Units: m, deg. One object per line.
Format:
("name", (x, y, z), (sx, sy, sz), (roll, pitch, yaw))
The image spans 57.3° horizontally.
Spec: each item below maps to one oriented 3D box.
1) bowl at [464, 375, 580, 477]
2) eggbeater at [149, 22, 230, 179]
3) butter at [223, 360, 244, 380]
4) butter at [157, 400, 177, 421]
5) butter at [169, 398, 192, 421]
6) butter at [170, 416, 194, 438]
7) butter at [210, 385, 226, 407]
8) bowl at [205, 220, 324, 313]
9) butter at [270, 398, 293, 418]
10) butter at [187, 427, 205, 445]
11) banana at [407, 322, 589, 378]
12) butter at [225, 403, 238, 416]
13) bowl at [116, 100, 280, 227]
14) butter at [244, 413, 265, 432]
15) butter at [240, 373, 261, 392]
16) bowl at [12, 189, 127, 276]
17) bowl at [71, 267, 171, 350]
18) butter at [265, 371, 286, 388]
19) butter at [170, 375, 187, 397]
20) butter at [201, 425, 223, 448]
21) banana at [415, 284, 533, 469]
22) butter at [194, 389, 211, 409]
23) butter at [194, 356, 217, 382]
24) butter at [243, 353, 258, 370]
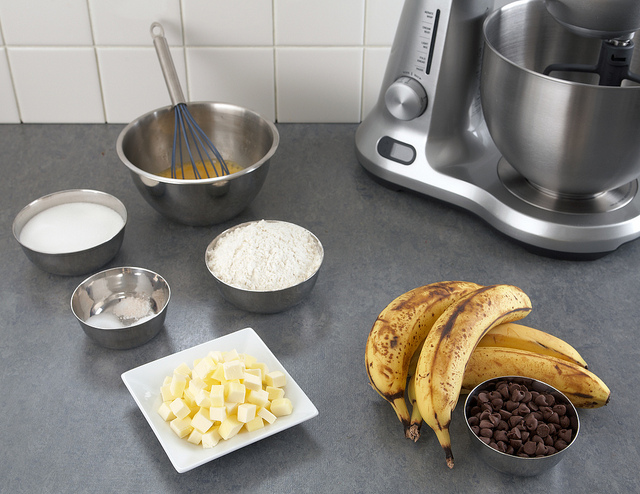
("bowl", (0.243, 0.218, 0.716), (0.132, 0.067, 0.105), (11, 47, 12))
("eggbeater", (-0.254, -0.246, 1.059), (0.064, 0.314, 0.075), (-15, 10, 5))
("butter", (-0.109, 0.157, 0.738), (0.028, 0.024, 0.018), (-1, 20, -8))
("butter", (-0.190, 0.205, 0.731), (0.019, 0.015, 0.023), (-28, 52, -22))
("butter", (-0.173, 0.199, 0.719), (0.020, 0.019, 0.027), (-35, 31, -3))
("butter", (-0.170, 0.220, 0.717), (0.022, 0.011, 0.024), (-19, 53, -21))
("butter", (-0.124, 0.183, 0.724), (0.017, 0.018, 0.027), (5, 43, 5))
("bowl", (-0.091, 0.031, 0.946), (0.179, 0.106, 0.183), (2, 33, -1))
("butter", (-0.048, 0.201, 0.734), (0.029, 0.023, 0.018), (0, 32, -1))
("butter", (-0.151, 0.230, 0.713), (0.017, 0.019, 0.018), (21, 26, -17))
("banana", (0.244, 0.128, 0.863), (0.260, 0.070, 0.104), (6, 63, 12))
("butter", (-0.109, 0.199, 0.723), (0.013, 0.014, 0.014), (-20, 44, -26))
("bowl", (-0.206, -0.145, 1.034), (0.267, 0.144, 0.251), (-1, 46, 1))
("butter", (-0.080, 0.218, 0.720), (0.018, 0.013, 0.019), (-17, 37, -19))
("butter", (-0.085, 0.171, 0.740), (0.021, 0.014, 0.017), (2, 45, 4))
("bowl", (-0.401, -0.038, 0.913), (0.143, 0.069, 0.164), (-3, 45, -5))
("bowl", (-0.287, 0.081, 0.849), (0.137, 0.062, 0.130), (-1, 46, 1))
("butter", (-0.058, 0.172, 0.762), (0.027, 0.013, 0.021), (-5, 46, -3))
("butter", (-0.180, 0.176, 0.742), (0.020, 0.023, 0.020), (-14, 34, -32))
("butter", (-0.132, 0.230, 0.709), (0.014, 0.012, 0.028), (13, 34, 2))
("banana", (0.191, 0.134, 0.739), (0.114, 0.065, 0.243), (25, 57, 40))
("butter", (-0.144, 0.186, 0.722), (0.017, 0.019, 0.019), (-4, 34, -20))
("butter", (-0.147, 0.156, 0.753), (0.027, 0.016, 0.024), (-26, 51, -22))
("butter", (-0.093, 0.151, 0.772), (0.012, 0.014, 0.013), (6, 17, 7))
